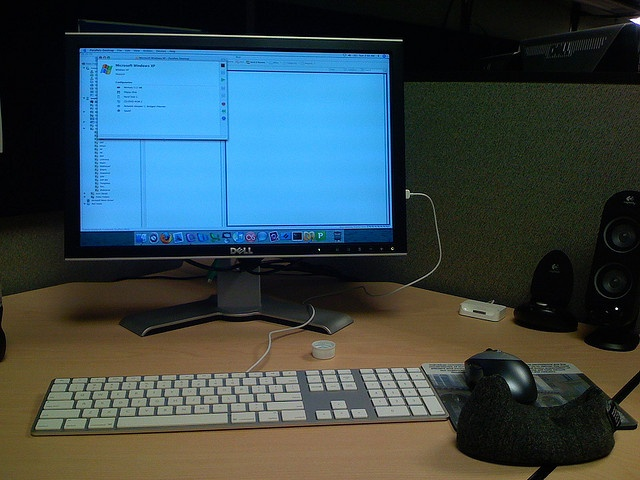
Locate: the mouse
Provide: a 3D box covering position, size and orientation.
[{"bbox_3d":[0.282,0.210,0.831,0.071,0.032,0.106,1,8,-15],"label":"mouse"}]
